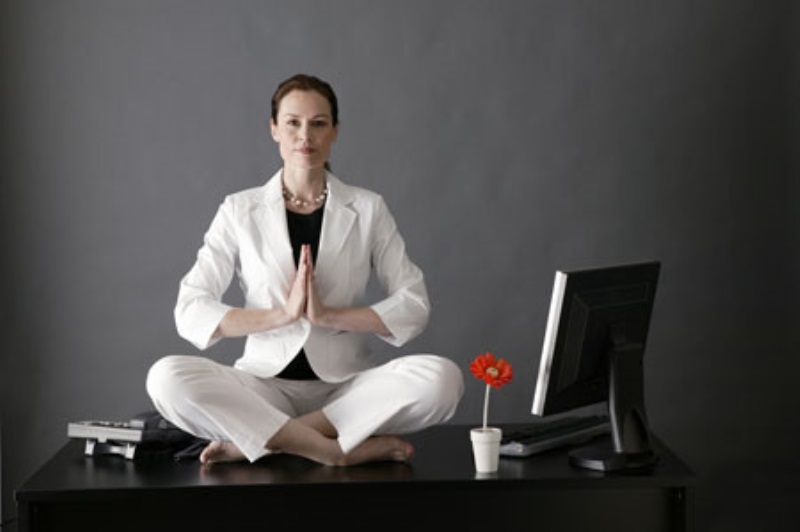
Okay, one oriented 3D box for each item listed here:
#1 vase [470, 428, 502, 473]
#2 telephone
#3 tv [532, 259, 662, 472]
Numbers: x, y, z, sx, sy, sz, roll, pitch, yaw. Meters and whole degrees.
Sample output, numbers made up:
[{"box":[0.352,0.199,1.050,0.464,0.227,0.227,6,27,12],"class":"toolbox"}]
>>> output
[{"box":[0.315,0.647,2.482,0.138,0.158,0.140,-4,-4,22],"class":"vase"},{"box":[-1.040,0.631,2.752,0.218,0.121,0.300,-3,-9,26],"class":"telephone"},{"box":[0.761,0.351,2.506,0.532,0.616,0.173,3,3,-24],"class":"tv"}]
